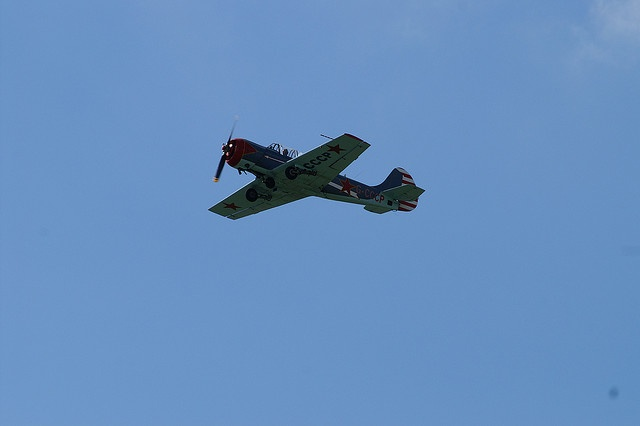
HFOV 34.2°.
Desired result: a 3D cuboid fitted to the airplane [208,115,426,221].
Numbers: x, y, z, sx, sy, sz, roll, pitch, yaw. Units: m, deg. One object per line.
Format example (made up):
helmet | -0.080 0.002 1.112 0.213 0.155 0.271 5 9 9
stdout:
airplane | -0.386 -1.416 38.412 6.341 3.513 5.468 14 -48 0
